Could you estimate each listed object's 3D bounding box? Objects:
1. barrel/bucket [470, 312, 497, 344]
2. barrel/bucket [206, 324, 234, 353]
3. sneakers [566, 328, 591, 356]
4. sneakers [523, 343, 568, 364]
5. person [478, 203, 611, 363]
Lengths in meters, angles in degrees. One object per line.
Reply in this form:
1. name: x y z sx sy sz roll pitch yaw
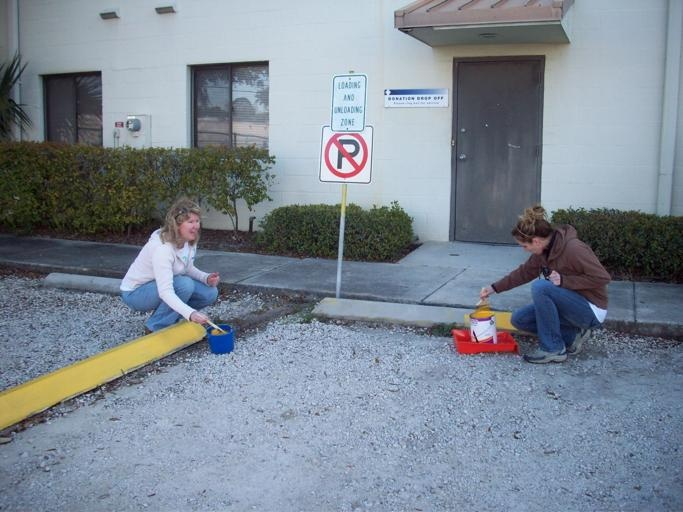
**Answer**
1. barrel/bucket: 1.259 0.625 4.773 0.239 0.299 0.256 -3 7 0
2. barrel/bucket: -1.120 0.743 4.805 0.208 0.243 0.244 -1 6 1
3. sneakers: 2.137 0.773 4.752 0.091 0.230 0.082 25 7 -18
4. sneakers: 1.778 0.859 4.645 0.371 0.202 0.149 0 2 -2
5. person: 1.894 0.218 4.687 0.809 1.366 0.607 1 12 5
